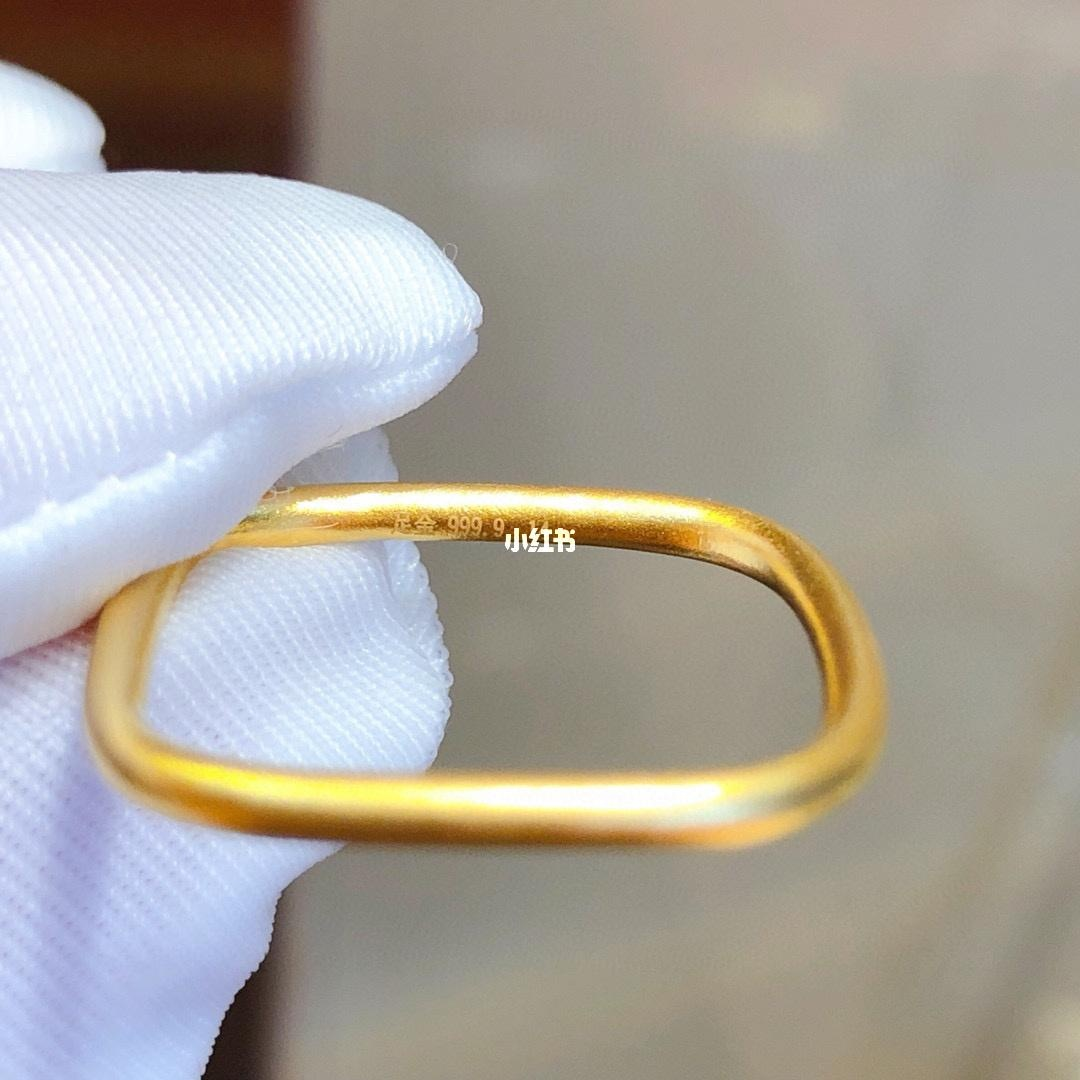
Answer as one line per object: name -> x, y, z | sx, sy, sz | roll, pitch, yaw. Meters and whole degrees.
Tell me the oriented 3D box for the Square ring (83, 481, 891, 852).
Square ring -> -0.011, 0.024, 0.272 | 0.130, 0.013, 0.083 | -1, 19, -4
